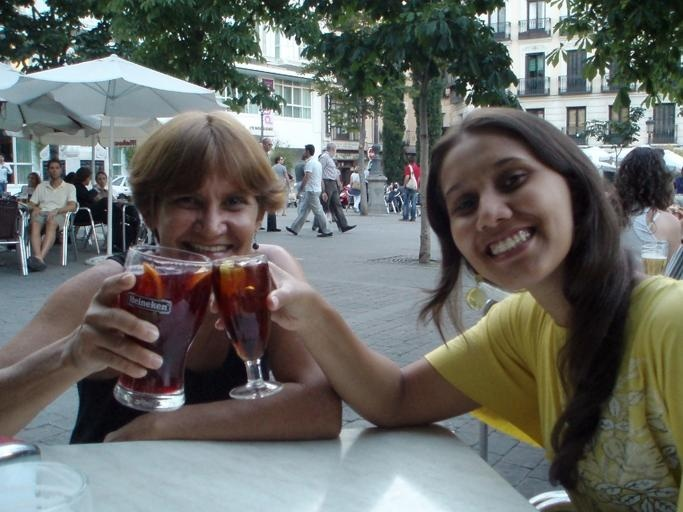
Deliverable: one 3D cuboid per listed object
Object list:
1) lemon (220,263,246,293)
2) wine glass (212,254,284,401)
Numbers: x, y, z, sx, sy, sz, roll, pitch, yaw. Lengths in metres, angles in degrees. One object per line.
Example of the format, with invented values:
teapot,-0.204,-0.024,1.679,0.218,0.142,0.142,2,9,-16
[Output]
lemon,-0.296,0.058,1.550,0.076,0.081,0.071,1,3,26
wine glass,-0.259,0.215,1.658,0.175,0.439,0.227,2,3,17
